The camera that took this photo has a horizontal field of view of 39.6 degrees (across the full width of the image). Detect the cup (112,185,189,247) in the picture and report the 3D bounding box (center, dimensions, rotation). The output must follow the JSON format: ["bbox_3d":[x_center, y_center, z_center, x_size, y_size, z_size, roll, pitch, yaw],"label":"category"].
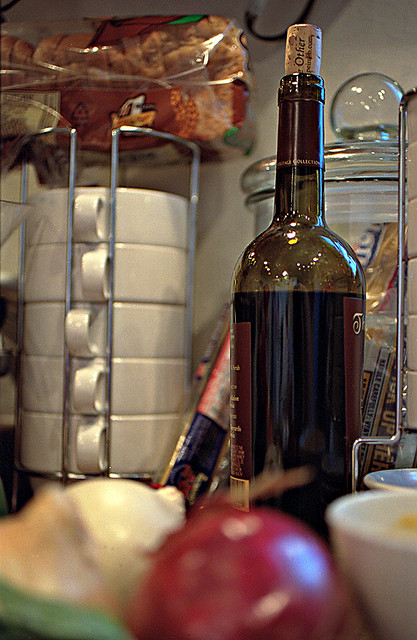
[{"bbox_3d":[-0.044,-0.072,0.429,0.044,0.030,0.043,5,4,0],"label":"cup"}]

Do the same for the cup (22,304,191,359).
[{"bbox_3d":[-0.067,0.008,0.430,0.129,0.040,0.054,3,0,-32],"label":"cup"}]

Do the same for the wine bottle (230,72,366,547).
[{"bbox_3d":[0.045,-0.013,0.271,0.068,0.207,0.062,3,0,2],"label":"wine bottle"}]

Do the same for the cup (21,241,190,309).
[{"bbox_3d":[-0.068,-0.034,0.425,0.129,0.050,0.058,3,0,-24],"label":"cup"}]
